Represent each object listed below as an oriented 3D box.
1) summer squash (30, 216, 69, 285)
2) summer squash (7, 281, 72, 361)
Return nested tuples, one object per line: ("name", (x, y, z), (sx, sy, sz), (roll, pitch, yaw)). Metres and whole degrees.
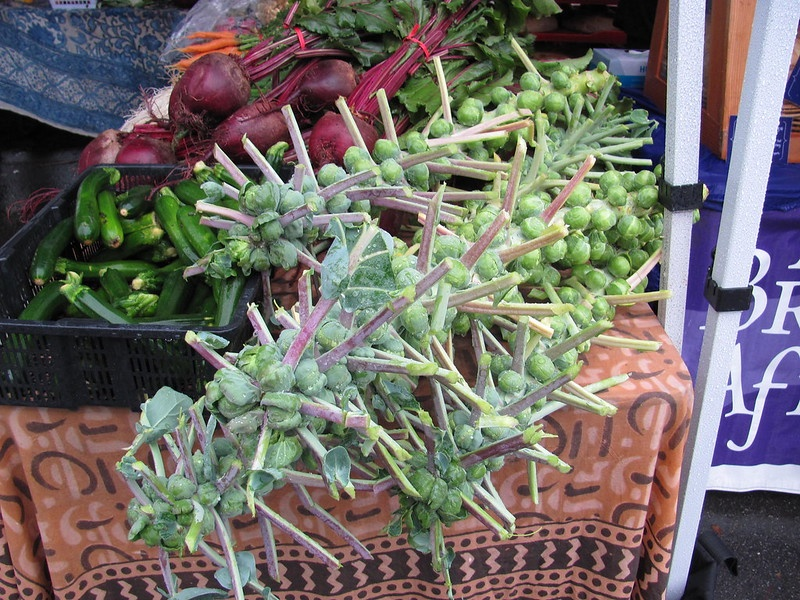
("summer squash", (-0.911, -0.136, 1.744), (0.056, 0.060, 0.228), (-4, 49, 11))
("summer squash", (-0.837, 0.055, 1.528), (0.048, 0.059, 0.214), (15, 39, -6))
